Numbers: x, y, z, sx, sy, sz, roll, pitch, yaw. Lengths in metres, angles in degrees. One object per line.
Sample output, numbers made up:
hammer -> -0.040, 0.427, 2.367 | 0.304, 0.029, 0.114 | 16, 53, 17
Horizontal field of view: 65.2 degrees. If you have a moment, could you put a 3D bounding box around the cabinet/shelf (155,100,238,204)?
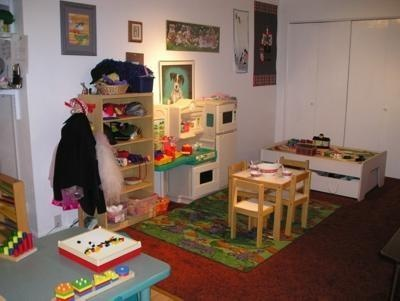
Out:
cabinet/shelf -> -0.110, 0.025, 4.841 | 0.542, 1.348, 1.402 | 9, 16, 39

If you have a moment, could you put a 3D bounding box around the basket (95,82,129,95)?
basket -> -1.071, -0.747, 3.813 | 0.379, 0.139, 0.237 | -4, 16, -16

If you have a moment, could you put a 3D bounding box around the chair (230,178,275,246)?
chair -> 0.568, 0.737, 3.833 | 0.490, 0.668, 0.476 | 2, 4, -28

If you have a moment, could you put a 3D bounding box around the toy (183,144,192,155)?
toy -> -0.197, -0.008, 4.822 | 0.138, 0.130, 0.139 | -3, 9, -8

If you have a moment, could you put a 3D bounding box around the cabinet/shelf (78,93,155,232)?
cabinet/shelf -> -1.014, 0.112, 4.211 | 0.654, 1.750, 1.073 | 8, 16, 26

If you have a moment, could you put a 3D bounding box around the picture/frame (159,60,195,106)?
picture/frame -> -0.387, -1.071, 4.937 | 0.660, 0.749, 0.054 | -17, 26, -41

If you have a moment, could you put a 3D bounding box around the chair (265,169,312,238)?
chair -> 1.149, 0.660, 4.217 | 0.470, 0.699, 0.529 | -7, 8, -35

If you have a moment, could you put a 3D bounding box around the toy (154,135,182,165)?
toy -> -0.476, -0.016, 4.564 | 0.279, 0.314, 0.617 | 5, 16, 17

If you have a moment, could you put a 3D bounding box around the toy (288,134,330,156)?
toy -> 2.022, -0.079, 5.719 | 0.424, 0.207, 0.569 | 11, 18, 41

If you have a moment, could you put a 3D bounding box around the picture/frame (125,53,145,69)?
picture/frame -> -0.915, -1.295, 4.412 | 0.060, 0.169, 0.312 | 10, 18, 32

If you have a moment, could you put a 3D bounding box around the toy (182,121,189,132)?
toy -> -0.238, -0.357, 4.954 | 0.138, 0.140, 0.123 | -6, 16, -24

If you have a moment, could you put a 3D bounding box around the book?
book -> -0.695, 0.656, 2.149 | 0.267, 0.062, 0.253 | 13, 16, 37

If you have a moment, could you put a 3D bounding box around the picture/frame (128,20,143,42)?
picture/frame -> -0.907, -1.659, 4.339 | 0.020, 0.303, 0.302 | 10, 16, 36
